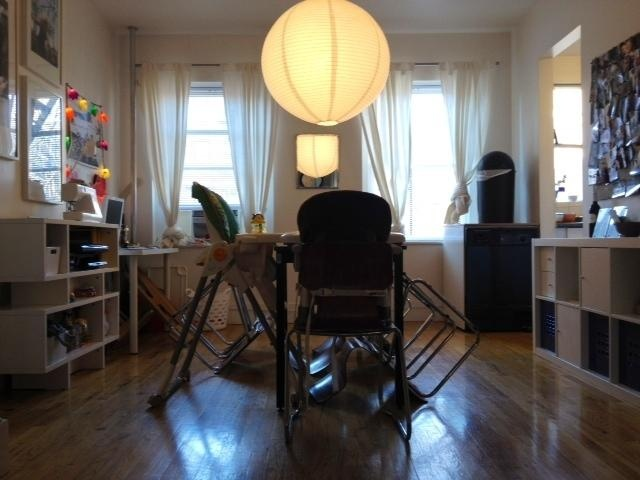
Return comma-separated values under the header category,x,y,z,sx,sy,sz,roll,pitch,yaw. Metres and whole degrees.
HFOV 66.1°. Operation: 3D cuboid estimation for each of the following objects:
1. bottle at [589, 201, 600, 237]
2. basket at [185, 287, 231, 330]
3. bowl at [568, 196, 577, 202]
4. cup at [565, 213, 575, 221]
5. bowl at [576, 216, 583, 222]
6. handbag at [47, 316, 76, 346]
category,x,y,z,sx,sy,sz,roll,pitch,yaw
bottle,2.125,-0.164,3.822,0.068,0.273,0.208,1,5,29
basket,-1.036,0.630,4.776,0.414,0.532,0.423,0,1,-34
bowl,2.479,-0.409,4.832,0.066,0.059,0.125,1,6,28
cup,2.315,-0.202,4.571,0.096,0.061,0.118,2,7,30
bowl,2.404,-0.198,4.569,0.058,0.051,0.062,1,2,0
handbag,-1.701,0.593,3.244,0.073,0.204,0.152,-21,37,-32
